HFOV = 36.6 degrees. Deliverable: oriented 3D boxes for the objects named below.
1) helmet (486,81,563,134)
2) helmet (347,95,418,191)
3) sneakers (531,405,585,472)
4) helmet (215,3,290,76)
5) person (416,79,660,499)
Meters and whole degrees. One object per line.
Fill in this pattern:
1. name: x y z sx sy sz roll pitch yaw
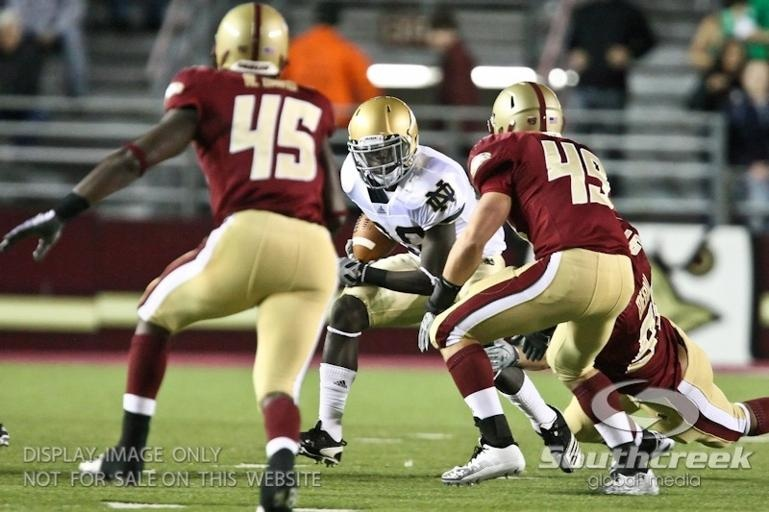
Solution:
1. helmet: 0.960 -0.977 7.964 0.448 0.446 0.569 -3 10 -16
2. helmet: -0.006 -0.767 8.044 0.476 0.635 0.242 2 4 1
3. sneakers: 1.233 1.231 7.913 0.278 0.637 0.208 6 42 10
4. helmet: -0.861 -1.382 7.407 0.420 0.421 0.499 1 22 -10
5. person: 1.008 0.204 7.579 1.486 2.601 0.528 2 4 1
